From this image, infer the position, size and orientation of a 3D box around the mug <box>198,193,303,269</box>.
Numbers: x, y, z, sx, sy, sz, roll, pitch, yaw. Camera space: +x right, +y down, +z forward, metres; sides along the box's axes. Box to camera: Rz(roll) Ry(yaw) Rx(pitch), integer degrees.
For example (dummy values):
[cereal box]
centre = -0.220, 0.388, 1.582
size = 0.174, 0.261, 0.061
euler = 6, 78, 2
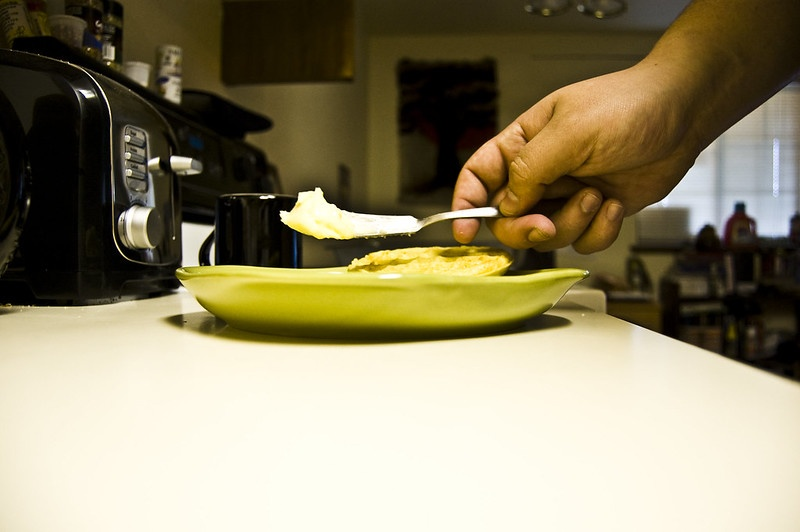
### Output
[mug]
centre = -0.210, -0.051, 0.956
size = 0.127, 0.119, 0.097
euler = 2, -1, 13

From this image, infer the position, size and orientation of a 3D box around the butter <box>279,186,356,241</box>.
[butter]
centre = -0.120, -0.071, 0.884
size = 0.091, 0.073, 0.105
euler = -4, 10, -23
